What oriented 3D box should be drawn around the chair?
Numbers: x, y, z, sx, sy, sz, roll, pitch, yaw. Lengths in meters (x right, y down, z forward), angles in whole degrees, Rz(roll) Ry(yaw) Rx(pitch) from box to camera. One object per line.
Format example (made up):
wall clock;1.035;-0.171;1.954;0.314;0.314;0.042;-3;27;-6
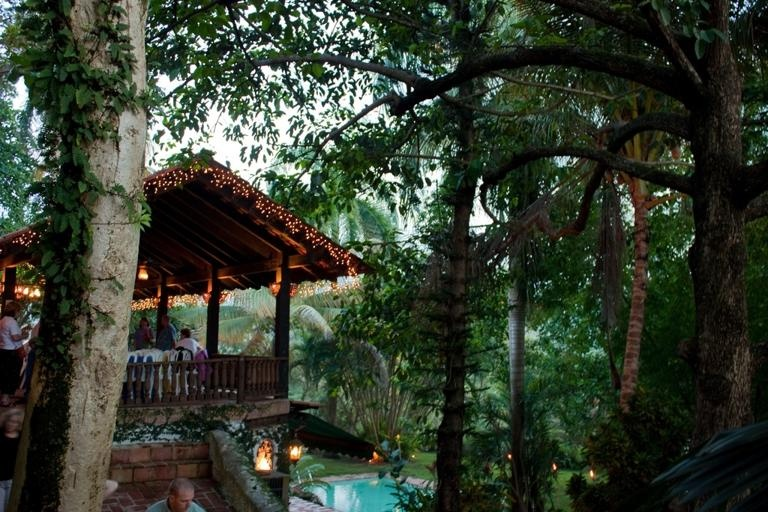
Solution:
chair;-4.485;2.405;15.041;1.527;0.757;2.125;0;-1;-20
